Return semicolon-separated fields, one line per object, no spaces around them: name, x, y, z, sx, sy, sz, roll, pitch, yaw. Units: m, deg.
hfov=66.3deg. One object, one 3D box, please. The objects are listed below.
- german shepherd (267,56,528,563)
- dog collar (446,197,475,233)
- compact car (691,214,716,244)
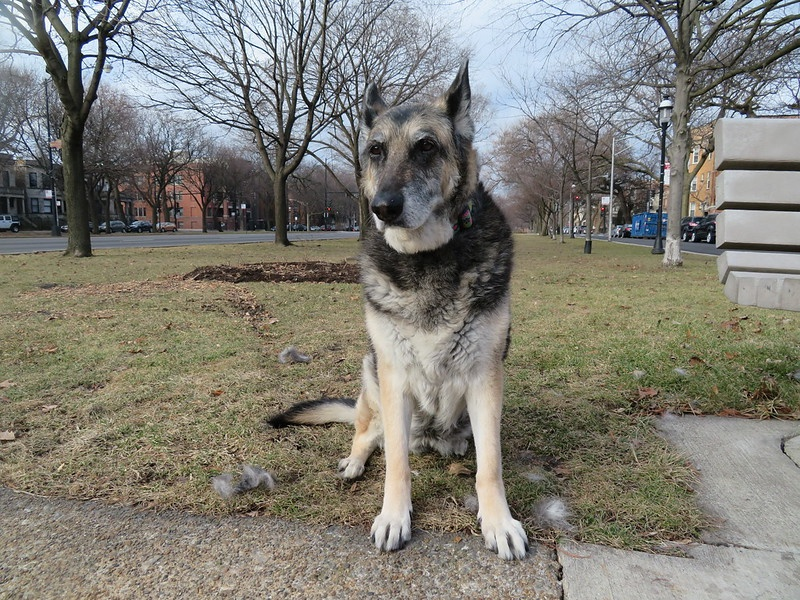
german shepherd;0.173;-0.093;4.719;1.483;3.520;1.547;0;9;4
dog collar;0.481;-0.655;4.810;0.092;0.224;0.168;20;26;-32
compact car;18.218;-4.239;36.784;0.787;1.666;3.920;2;10;18
